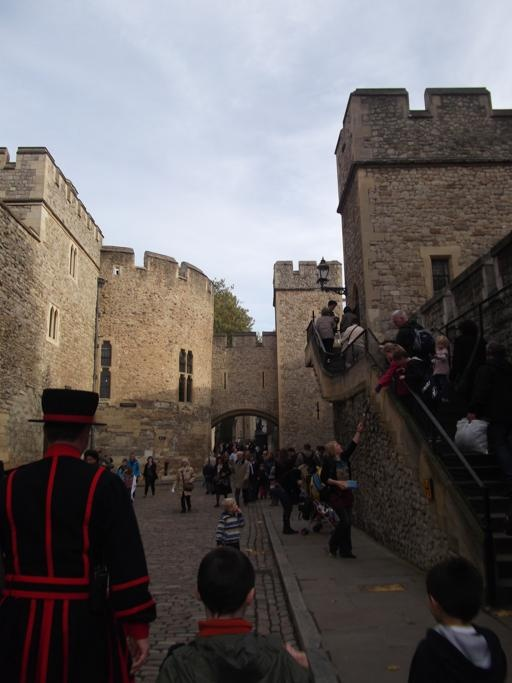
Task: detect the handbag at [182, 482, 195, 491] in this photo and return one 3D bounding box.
[{"bbox_3d":[-1.595,3.419,12.569,0.182,0.227,0.198,0,5,25],"label":"handbag"}]

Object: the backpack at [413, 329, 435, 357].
[{"bbox_3d":[2.337,0.031,7.509,0.246,0.463,0.232,1,-11,-5],"label":"backpack"}]

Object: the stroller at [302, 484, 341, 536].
[{"bbox_3d":[1.168,2.977,9.114,0.737,0.869,0.535,20,-25,-15],"label":"stroller"}]

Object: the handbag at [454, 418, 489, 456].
[{"bbox_3d":[2.351,1.048,5.831,0.170,0.425,0.386,22,-19,-30],"label":"handbag"}]
